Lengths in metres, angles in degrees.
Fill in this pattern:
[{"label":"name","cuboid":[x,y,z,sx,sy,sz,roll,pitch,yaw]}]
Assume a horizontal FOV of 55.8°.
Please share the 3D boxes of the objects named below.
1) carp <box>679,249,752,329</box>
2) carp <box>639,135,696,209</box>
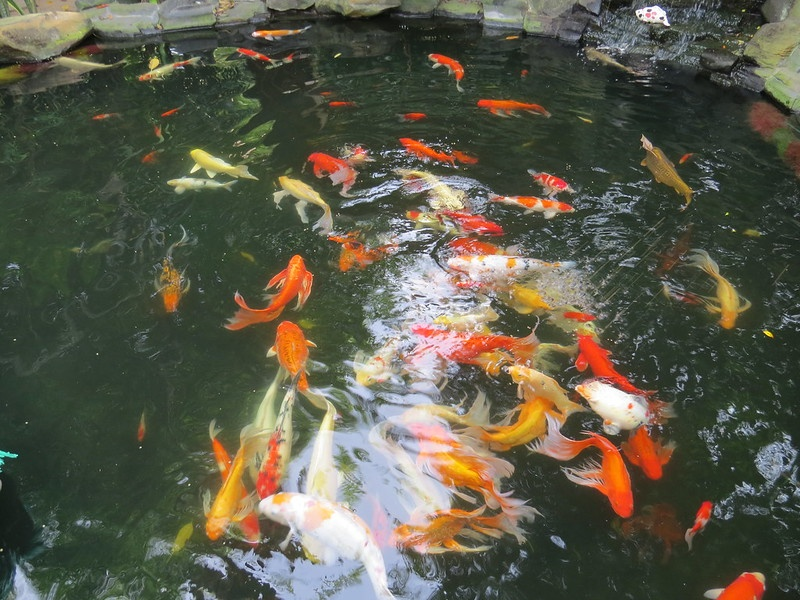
[{"label":"carp","cuboid":[3.360,-0.119,8.136,0.467,0.124,1.013,-17,53,-18]},{"label":"carp","cuboid":[3.227,-1.543,9.195,0.494,0.332,1.104,25,15,-35]}]
